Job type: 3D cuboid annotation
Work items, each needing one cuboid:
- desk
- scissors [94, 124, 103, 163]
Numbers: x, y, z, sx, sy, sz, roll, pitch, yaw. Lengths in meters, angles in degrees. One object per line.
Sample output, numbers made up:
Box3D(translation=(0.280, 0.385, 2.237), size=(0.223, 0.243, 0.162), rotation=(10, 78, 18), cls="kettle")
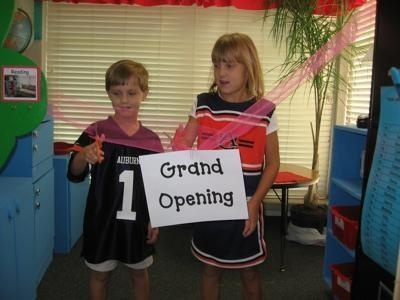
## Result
Box3D(translation=(0.583, 0.527, 2.540), size=(0.386, 0.764, 0.473), rotation=(6, 12, 15), cls="desk")
Box3D(translation=(-0.346, -0.024, 1.175), size=(0.023, 0.126, 0.091), rotation=(-2, 10, -17), cls="scissors")
